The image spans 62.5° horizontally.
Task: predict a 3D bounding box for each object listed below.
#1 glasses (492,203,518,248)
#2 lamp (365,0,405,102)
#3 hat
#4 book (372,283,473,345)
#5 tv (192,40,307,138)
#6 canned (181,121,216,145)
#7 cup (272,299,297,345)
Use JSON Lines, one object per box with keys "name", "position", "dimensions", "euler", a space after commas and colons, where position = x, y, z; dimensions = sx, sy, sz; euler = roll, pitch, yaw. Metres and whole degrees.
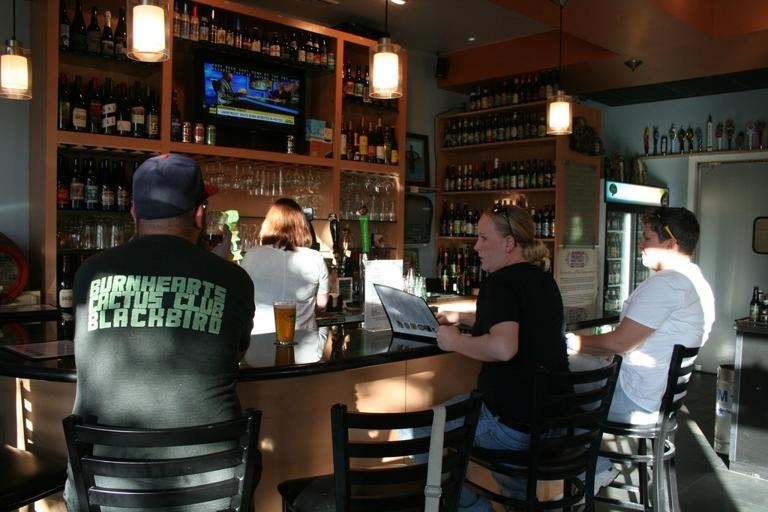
{"name": "glasses", "position": [0.671, -0.184, 3.490], "dimensions": [0.054, 0.174, 0.151], "euler": [-26, 14, -18]}
{"name": "lamp", "position": [0.007, -1.385, 4.557], "dimensions": [0.236, 0.466, 0.165], "euler": [-2, 2, -1]}
{"name": "hat", "position": [-0.904, -0.319, 2.805], "dimensions": [0.222, 0.171, 0.342], "euler": [6, 17, 14]}
{"name": "book", "position": [0.147, 0.359, 3.731], "dimensions": [0.299, 0.145, 0.380], "euler": [-6, 43, 13]}
{"name": "tv", "position": [-1.204, -1.463, 5.474], "dimensions": [1.017, 0.653, 0.136], "euler": [0, 3, -35]}
{"name": "canned", "position": [-1.530, -1.004, 5.192], "dimensions": [0.079, 0.142, 0.254], "euler": [0, 1, 38]}
{"name": "cup", "position": [-0.556, 0.372, 3.564], "dimensions": [0.112, 0.244, 0.149], "euler": [-2, 2, -7]}
